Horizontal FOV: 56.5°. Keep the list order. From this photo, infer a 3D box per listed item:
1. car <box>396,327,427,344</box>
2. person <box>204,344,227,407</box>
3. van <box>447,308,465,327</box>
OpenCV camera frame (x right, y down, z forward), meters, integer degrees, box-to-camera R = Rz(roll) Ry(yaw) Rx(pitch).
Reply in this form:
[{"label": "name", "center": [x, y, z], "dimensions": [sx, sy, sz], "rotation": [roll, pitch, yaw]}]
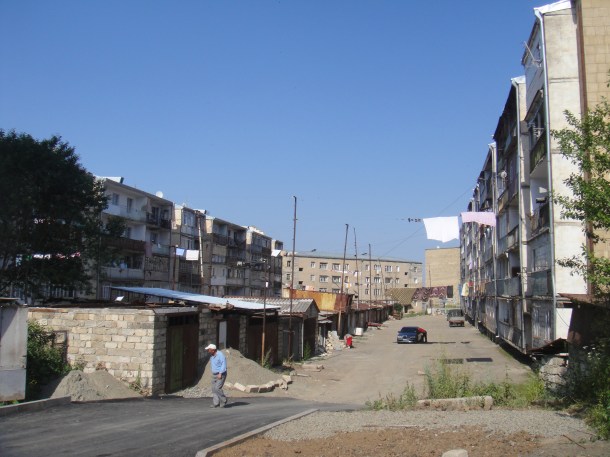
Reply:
[{"label": "car", "center": [9.391, 9.503, 50.080], "dimensions": [2.446, 1.240, 1.848], "rotation": [-2, -3, 5]}, {"label": "person", "center": [-3.104, 5.206, 20.034], "dimensions": [0.600, 2.179, 0.976], "rotation": [-1, -2, -11]}, {"label": "van", "center": [19.133, 11.378, 71.987], "dimensions": [1.422, 1.385, 2.607], "rotation": [-1, -1, 11]}]
